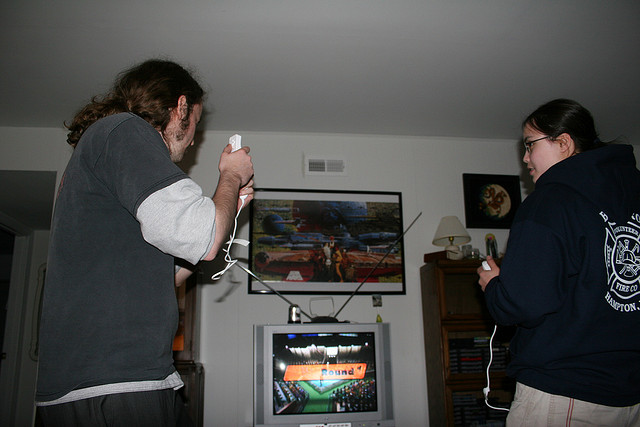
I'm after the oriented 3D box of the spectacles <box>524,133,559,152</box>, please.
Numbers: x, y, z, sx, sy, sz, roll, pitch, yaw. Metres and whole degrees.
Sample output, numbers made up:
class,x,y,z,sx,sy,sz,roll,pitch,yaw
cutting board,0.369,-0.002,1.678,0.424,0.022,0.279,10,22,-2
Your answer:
class,x,y,z,sx,sy,sz,roll,pitch,yaw
spectacles,1.038,-0.335,2.604,0.063,0.064,0.197,4,-16,-22

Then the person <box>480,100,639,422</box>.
class,x,y,z,sx,sy,sz,roll,pitch,yaw
person,1.086,0.284,2.350,0.722,1.188,0.278,-6,-16,16

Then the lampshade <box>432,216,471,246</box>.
class,x,y,z,sx,sy,sz,roll,pitch,yaw
lampshade,1.115,0.158,4.692,0.278,0.245,0.288,-9,-12,6

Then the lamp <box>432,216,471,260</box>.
class,x,y,z,sx,sy,sz,roll,pitch,yaw
lamp,1.134,0.224,4.735,0.320,0.392,0.331,-5,-15,12

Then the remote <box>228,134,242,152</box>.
class,x,y,z,sx,sy,sz,roll,pitch,yaw
remote,-0.402,-0.345,2.677,0.108,0.105,0.033,3,-2,34

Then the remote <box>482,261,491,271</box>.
class,x,y,z,sx,sy,sz,roll,pitch,yaw
remote,0.780,0.250,2.560,0.027,0.048,0.018,-29,-23,15

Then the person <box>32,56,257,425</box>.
class,x,y,z,sx,sy,sz,roll,pitch,yaw
person,-0.636,0.063,2.165,0.779,1.515,0.461,6,-17,-26

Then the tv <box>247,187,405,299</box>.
class,x,y,z,sx,sy,sz,roll,pitch,yaw
tv,0.001,0.296,4.728,1.026,0.684,0.015,2,-20,-7
